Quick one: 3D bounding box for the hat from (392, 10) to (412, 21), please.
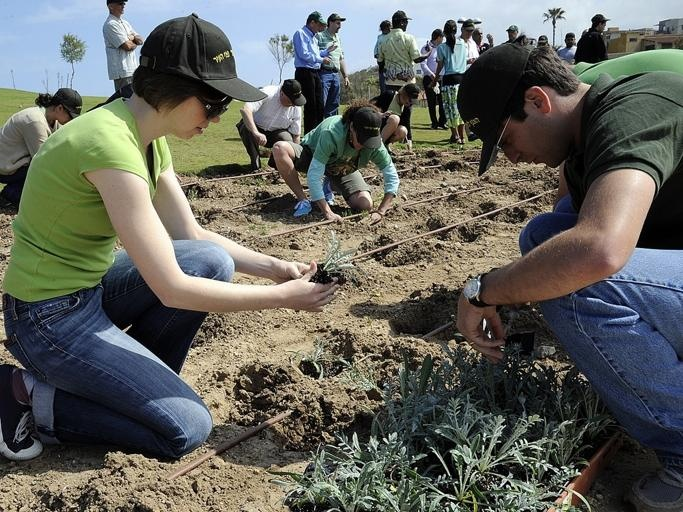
[{"bbox_3d":[1.064,-4.331,9.212,0.238,0.147,0.349,-1,18,0],"label":"hat"}]

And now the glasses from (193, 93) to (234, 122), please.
[{"bbox_3d":[-0.557,-0.648,2.220,0.096,0.031,0.096,37,30,16],"label":"glasses"}]

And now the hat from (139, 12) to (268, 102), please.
[{"bbox_3d":[-0.570,-0.887,2.233,0.555,0.269,0.354,15,22,-2],"label":"hat"}]

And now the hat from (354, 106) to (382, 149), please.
[{"bbox_3d":[0.282,-1.364,5.296,0.333,0.247,0.457,0,45,-14],"label":"hat"}]

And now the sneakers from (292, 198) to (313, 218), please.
[{"bbox_3d":[-0.435,-0.529,5.687,0.119,0.121,0.303,-5,10,17],"label":"sneakers"}]

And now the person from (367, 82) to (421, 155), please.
[{"bbox_3d":[0.798,-2.234,8.375,0.880,1.171,0.690,28,27,38],"label":"person"}]
